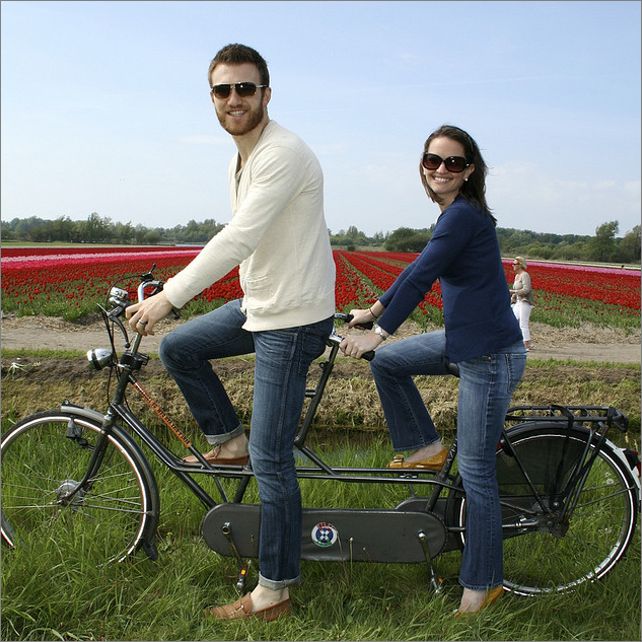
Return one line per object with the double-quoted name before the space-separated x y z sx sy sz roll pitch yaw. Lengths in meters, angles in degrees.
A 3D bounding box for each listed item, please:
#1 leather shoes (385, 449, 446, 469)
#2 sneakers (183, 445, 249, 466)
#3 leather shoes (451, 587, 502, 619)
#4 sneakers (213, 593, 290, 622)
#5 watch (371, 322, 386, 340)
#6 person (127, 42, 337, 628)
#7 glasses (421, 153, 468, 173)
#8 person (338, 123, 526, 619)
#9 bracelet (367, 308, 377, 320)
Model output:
"leather shoes" 0.512 0.714 2.926 0.348 0.144 0.120 4 -9 8
"sneakers" -0.544 0.723 2.922 0.329 0.124 0.130 4 -13 2
"leather shoes" 0.748 1.327 2.613 0.246 0.065 0.089 -38 33 4
"sneakers" -0.323 1.290 2.580 0.346 0.133 0.129 6 -19 4
"watch" 0.278 0.040 2.582 0.047 0.075 0.076 -39 -20 -19
"person" -0.364 0.055 2.542 0.757 2.500 0.653 9 15 25
"glasses" 0.587 -0.748 2.629 0.232 0.085 0.126 6 14 13
"person" 0.461 0.217 2.792 0.855 2.297 0.919 -4 4 -44
"bracelet" 0.270 -0.031 2.854 0.031 0.068 0.074 0 -23 11
